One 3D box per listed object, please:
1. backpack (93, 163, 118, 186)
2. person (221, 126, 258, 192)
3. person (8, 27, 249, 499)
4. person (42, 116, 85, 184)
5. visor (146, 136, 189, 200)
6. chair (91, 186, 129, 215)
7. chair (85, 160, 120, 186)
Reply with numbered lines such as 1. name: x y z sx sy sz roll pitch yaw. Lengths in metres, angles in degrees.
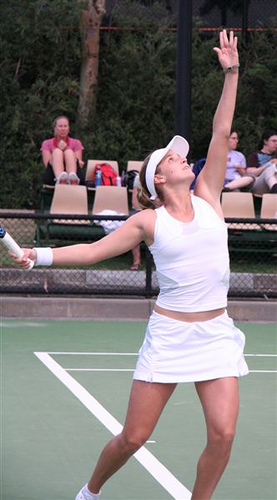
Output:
1. backpack: -0.646 -1.461 11.412 0.377 0.547 0.549 0 29 -2
2. person: 1.812 -1.689 11.040 0.770 1.144 0.817 1 10 -10
3. person: 0.068 0.121 2.590 0.823 1.972 0.736 2 3 6
4. person: -1.346 -1.806 10.805 0.799 1.283 1.739 1 8 -13
5. visor: 0.129 -0.367 2.688 0.162 0.294 0.165 -6 15 -16
6. chair: -0.500 -0.887 10.469 0.474 0.787 0.556 1 -1 -6
7. chair: -0.761 -1.697 12.452 0.689 0.677 0.579 -1 -1 -15
